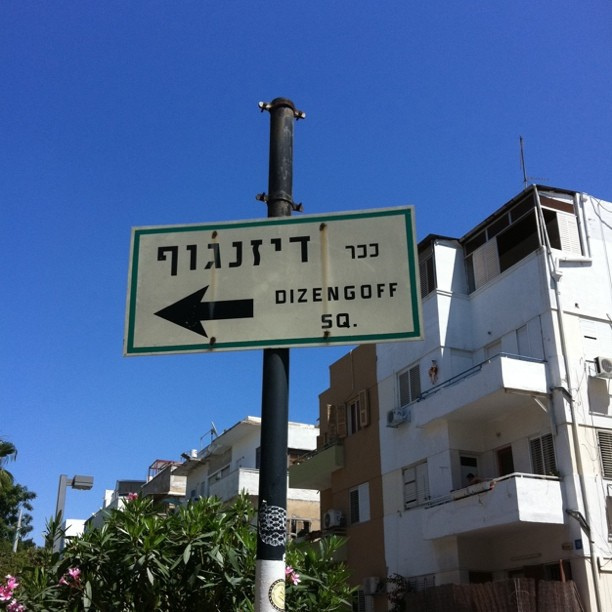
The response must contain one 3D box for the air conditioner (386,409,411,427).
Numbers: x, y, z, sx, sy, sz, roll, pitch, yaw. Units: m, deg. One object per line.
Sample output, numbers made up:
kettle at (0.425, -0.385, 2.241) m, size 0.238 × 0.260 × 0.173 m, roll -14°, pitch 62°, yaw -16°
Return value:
air conditioner at (2.987, 3.674, 24.094) m, size 0.522 × 0.665 × 0.359 m, roll -12°, pitch -13°, yaw 33°
